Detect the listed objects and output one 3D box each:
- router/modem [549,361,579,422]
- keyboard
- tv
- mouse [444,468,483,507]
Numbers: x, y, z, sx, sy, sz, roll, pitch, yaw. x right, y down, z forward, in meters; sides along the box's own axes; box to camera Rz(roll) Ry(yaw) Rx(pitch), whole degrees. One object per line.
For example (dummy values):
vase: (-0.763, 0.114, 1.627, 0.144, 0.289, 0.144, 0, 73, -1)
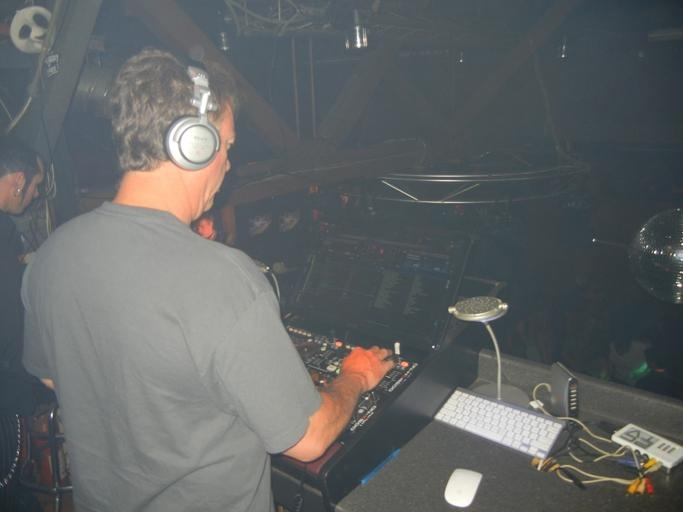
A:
router/modem: (0.905, 0.565, 2.426, 0.081, 0.240, 0.172, -6, 14, -12)
keyboard: (0.636, 0.684, 2.436, 0.486, 0.034, 0.234, 13, 30, 36)
tv: (0.197, 0.107, 2.804, 0.649, 0.628, 0.152, 14, -17, 26)
mouse: (0.451, 0.863, 2.210, 0.109, 0.077, 0.133, 17, 11, 23)
